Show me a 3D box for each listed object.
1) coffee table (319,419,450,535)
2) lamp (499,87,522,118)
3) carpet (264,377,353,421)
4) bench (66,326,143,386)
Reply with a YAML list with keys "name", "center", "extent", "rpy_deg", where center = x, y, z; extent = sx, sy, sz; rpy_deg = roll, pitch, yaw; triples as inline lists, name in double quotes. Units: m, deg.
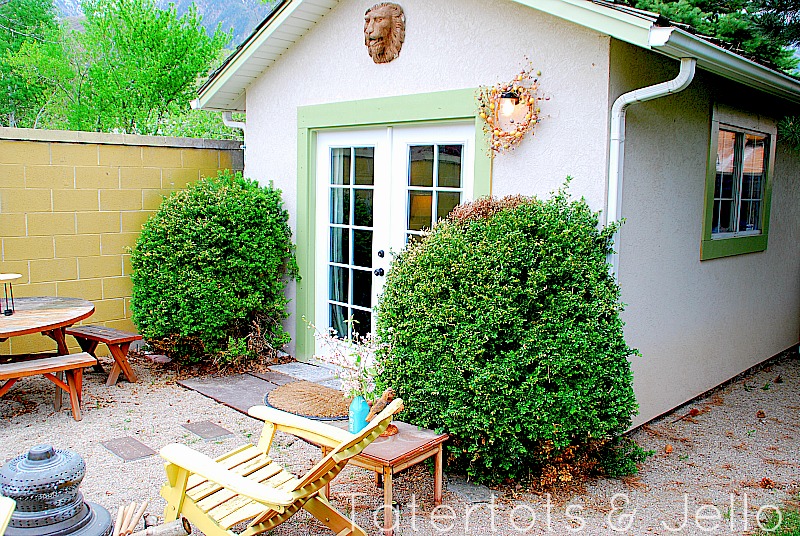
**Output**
- name: "coffee table"
  center: [-0.146, 1.462, 4.615]
  extent: [0.793, 0.736, 0.802]
  rpy_deg: [6, 9, 42]
- name: "lamp"
  center: [1.056, -1.609, 5.638]
  extent: [0.202, 0.267, 0.071]
  rpy_deg: [11, 14, 41]
- name: "carpet"
  center: [-0.989, 1.449, 6.367]
  extent: [0.633, 0.055, 0.666]
  rpy_deg: [8, 11, 23]
- name: "bench"
  center: [-3.725, 1.041, 7.088]
  extent: [1.158, 0.547, 0.451]
  rpy_deg: [6, 7, 31]
